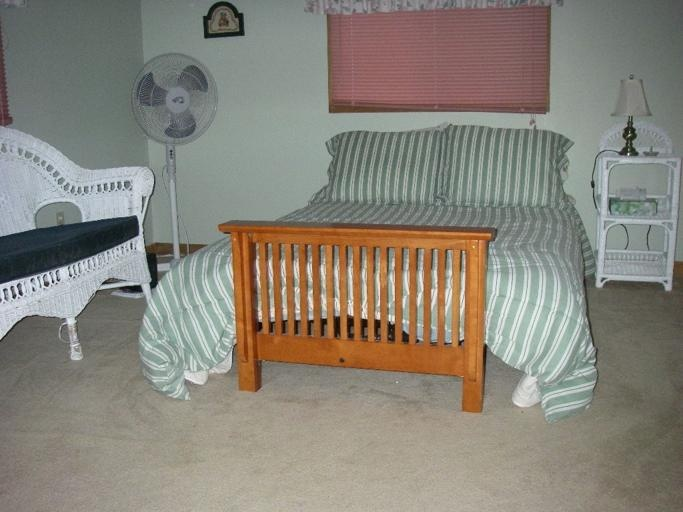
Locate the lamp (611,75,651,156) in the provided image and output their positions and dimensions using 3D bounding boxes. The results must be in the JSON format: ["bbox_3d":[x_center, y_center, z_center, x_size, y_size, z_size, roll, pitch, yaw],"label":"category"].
[{"bbox_3d":[1.973,-0.964,3.942,0.236,0.561,0.377,5,13,26],"label":"lamp"}]

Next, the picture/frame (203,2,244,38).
[{"bbox_3d":[-0.911,-1.873,4.562,0.264,0.235,0.021,1,12,9],"label":"picture/frame"}]

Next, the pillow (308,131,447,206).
[{"bbox_3d":[0.294,-0.597,3.857,0.743,0.460,0.372,2,11,11],"label":"pillow"}]

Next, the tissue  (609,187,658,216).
[{"bbox_3d":[1.953,-0.361,3.916,0.190,0.177,0.280,1,6,8],"label":"tissue "}]
